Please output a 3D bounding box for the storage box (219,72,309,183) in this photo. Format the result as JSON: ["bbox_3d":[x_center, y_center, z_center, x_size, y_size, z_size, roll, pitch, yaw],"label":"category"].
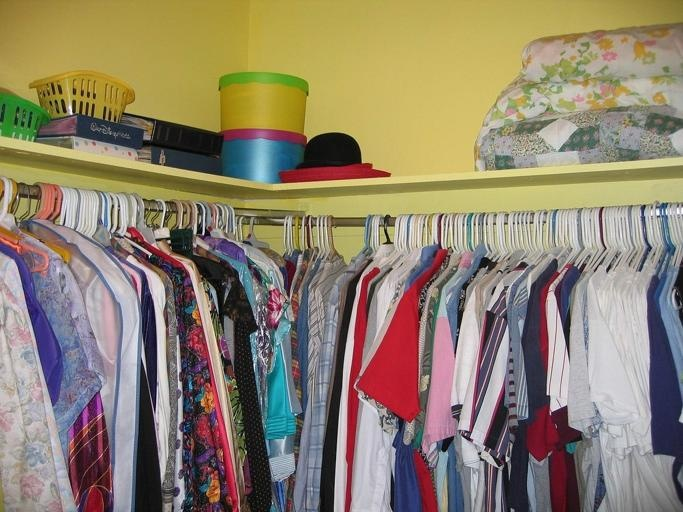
[{"bbox_3d":[-0.321,-0.433,2.443,0.353,0.441,0.349,3,-3,-42],"label":"storage box"}]
